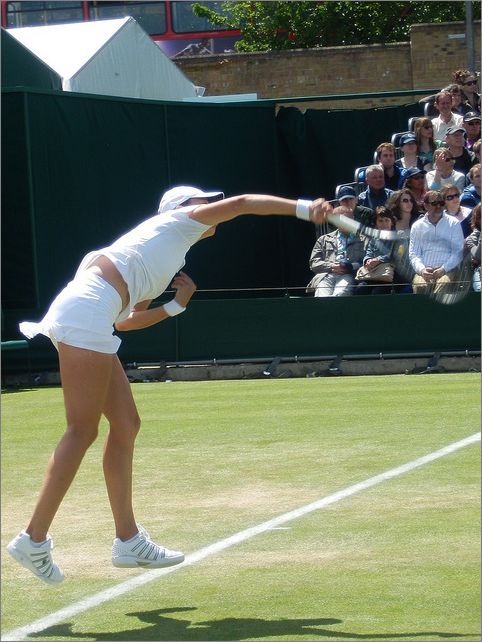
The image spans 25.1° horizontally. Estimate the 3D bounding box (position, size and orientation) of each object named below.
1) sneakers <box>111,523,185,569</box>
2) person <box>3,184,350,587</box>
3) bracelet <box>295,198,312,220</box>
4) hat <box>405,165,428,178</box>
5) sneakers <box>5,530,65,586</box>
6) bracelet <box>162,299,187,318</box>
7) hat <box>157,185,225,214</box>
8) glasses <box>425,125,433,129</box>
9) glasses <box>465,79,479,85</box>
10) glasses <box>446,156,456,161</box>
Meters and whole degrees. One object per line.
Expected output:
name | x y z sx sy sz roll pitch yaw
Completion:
sneakers | -0.384 0.920 4.355 0.345 0.185 0.114 -1 -7 -3
person | -0.426 0.207 4.467 1.224 1.539 0.805 -3 4 -20
bracelet | 0.243 -0.451 4.300 0.082 0.086 0.094 5 -1 10
hat | 2.076 -1.806 13.157 0.163 0.069 0.218 -7 -4 -30
sneakers | -0.754 0.884 4.006 0.199 0.219 0.078 -3 4 -31
bracelet | -0.299 -0.042 4.887 0.097 0.086 0.079 -8 25 -16
hat | -0.220 -0.522 4.554 0.251 0.087 0.155 -15 3 6
glasses | 2.495 -2.601 14.478 0.064 0.057 0.022 0 11 7
glasses | 3.283 -3.452 15.616 0.153 0.047 0.148 -18 31 -21
glasses | 2.613 -2.036 13.550 0.127 0.036 0.120 3 8 33
